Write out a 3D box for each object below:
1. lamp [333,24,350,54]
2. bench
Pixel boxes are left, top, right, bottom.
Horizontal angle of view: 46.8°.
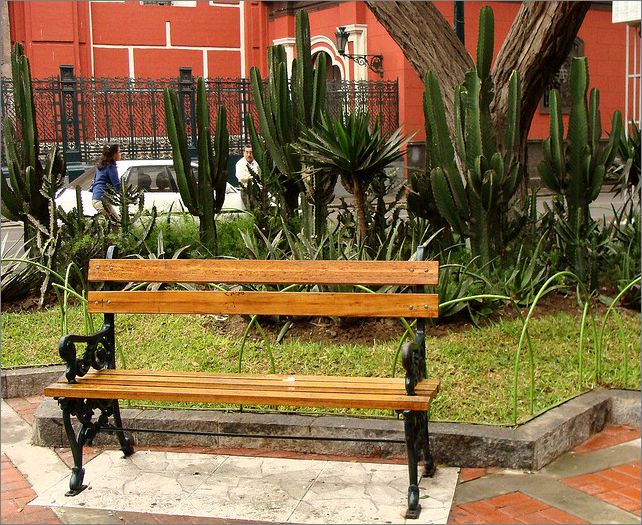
[{"bbox_3d":[0.605,-6.601,22.019,0.322,0.850,0.615,-3,9,6],"label":"lamp"},{"bbox_3d":[-0.448,0.644,4.528,2.302,1.503,0.776,-3,8,10],"label":"bench"}]
